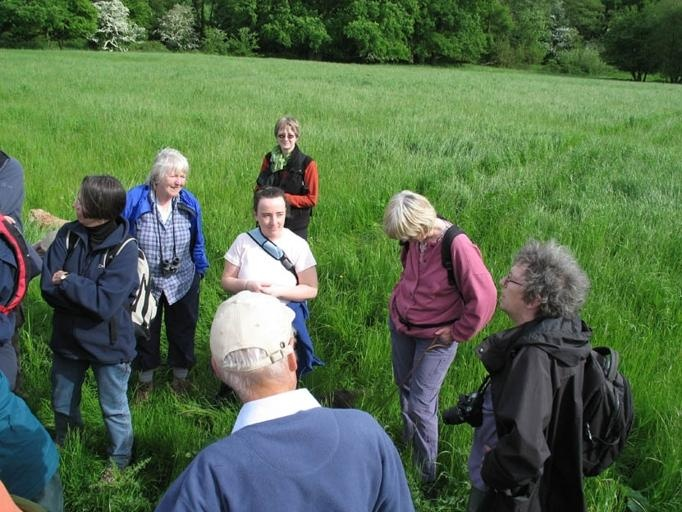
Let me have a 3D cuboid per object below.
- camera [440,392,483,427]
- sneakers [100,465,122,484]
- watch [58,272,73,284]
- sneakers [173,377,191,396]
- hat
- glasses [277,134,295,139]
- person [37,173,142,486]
[{"bbox_3d":[0.966,1.198,5.058,0.266,0.192,0.269,-14,12,5],"label":"camera"},{"bbox_3d":[-2.037,1.932,5.607,0.149,0.190,0.080,-5,-1,17],"label":"sneakers"},{"bbox_3d":[-2.346,0.192,5.392,0.098,0.081,0.041,9,41,39],"label":"watch"},{"bbox_3d":[-1.704,1.405,6.886,0.189,0.219,0.155,-8,0,17],"label":"sneakers"},{"bbox_3d":[-0.547,0.447,3.944,0.360,0.312,0.510,14,41,20],"label":"hat"},{"bbox_3d":[-0.672,-1.494,7.875,0.209,0.068,0.071,2,16,-12],"label":"glasses"},{"bbox_3d":[-2.214,0.636,5.562,0.762,2.627,0.609,4,15,-2],"label":"person"}]
